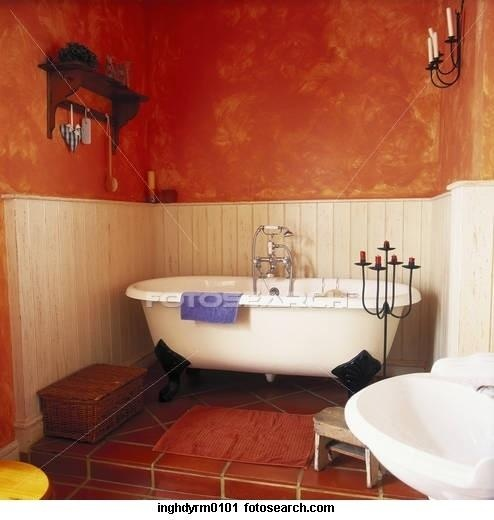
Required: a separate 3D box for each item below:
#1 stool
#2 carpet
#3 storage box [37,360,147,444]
[{"bbox_3d":[0.335,0.635,1.824,0.353,0.274,0.247,1,4,23],"label":"stool"},{"bbox_3d":[-0.039,0.698,1.991,0.594,0.026,0.383,4,10,7],"label":"carpet"},{"bbox_3d":[-0.632,0.564,2.044,0.264,0.149,0.326,1,4,16],"label":"storage box"}]
